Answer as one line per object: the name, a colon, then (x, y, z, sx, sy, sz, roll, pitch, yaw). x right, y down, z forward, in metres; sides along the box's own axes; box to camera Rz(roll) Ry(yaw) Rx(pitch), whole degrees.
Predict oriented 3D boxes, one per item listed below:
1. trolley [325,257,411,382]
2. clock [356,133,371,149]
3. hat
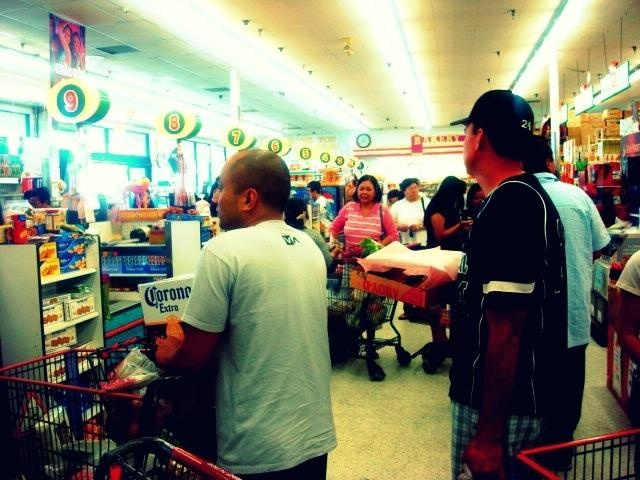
trolley: (0.454, 0.727, 5.393, 0.707, 1.168, 0.532, 1, 11, 16)
clock: (2.023, -4.539, 25.315, 0.725, 0.696, 0.489, -1, 11, 3)
hat: (0.831, -0.587, 2.590, 0.257, 0.151, 0.194, 16, 15, 21)
